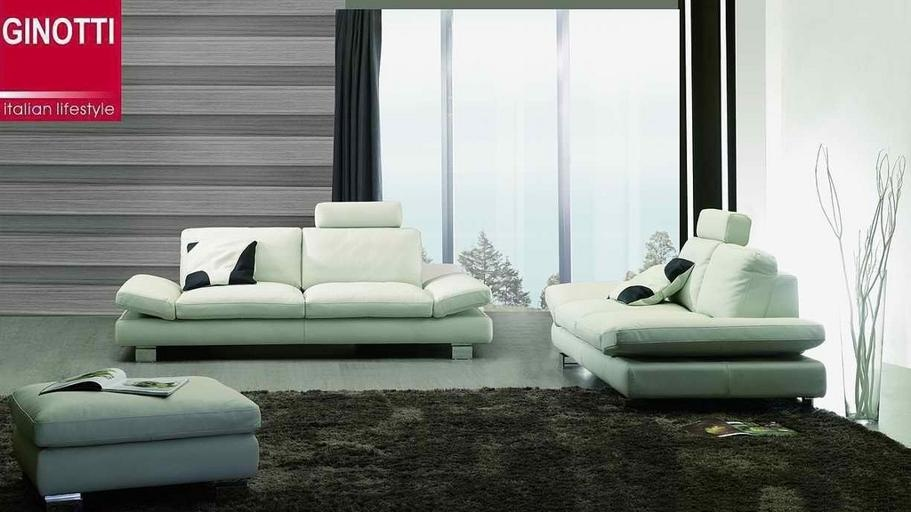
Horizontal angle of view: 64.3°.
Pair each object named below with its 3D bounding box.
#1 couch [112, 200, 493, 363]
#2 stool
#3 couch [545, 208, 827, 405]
[{"bbox_3d":[-1.332,0.223,6.969,3.265,1.333,1.233,0,8,-2],"label":"couch"},{"bbox_3d":[-1.878,1.058,4.161,1.051,0.394,0.914,2,-4,-28],"label":"stool"},{"bbox_3d":[1.783,0.330,5.863,1.769,1.365,1.505,0,8,-1],"label":"couch"}]
